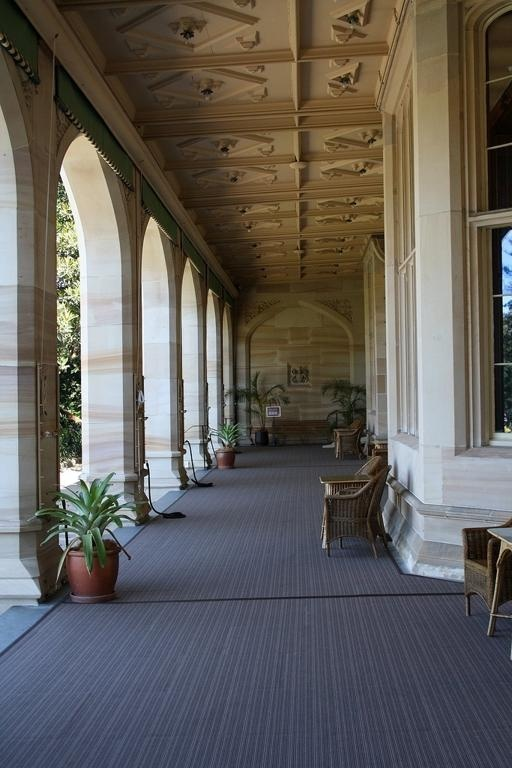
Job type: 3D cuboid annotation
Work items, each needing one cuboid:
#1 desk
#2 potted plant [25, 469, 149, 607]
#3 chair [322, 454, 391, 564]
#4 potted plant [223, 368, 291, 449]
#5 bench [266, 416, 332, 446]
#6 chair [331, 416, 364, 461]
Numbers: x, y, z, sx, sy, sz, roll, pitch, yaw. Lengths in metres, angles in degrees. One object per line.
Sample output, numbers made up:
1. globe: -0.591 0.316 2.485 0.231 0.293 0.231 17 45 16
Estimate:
1. desk: 0.860 1.184 5.125 0.659 0.975 0.682 0 -7 5
2. potted plant: -1.151 1.110 3.738 0.711 0.807 0.673 -2 -10 -21
3. chair: 0.856 1.147 5.188 0.751 1.122 0.791 0 -5 5
4. potted plant: 0.218 0.942 18.913 2.113 3.130 2.270 1 -10 -5
5. bench: 1.536 1.625 17.836 2.084 0.797 1.034 -2 -7 4
6. chair: 2.416 1.382 13.574 0.817 1.272 1.013 0 -3 1
